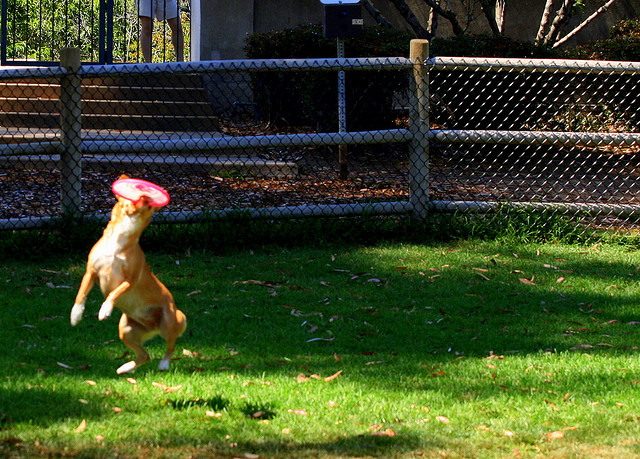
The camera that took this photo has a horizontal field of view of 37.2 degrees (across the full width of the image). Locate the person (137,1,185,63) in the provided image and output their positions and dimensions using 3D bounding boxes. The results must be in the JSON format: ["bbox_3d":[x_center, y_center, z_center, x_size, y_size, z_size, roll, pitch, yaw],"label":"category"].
[{"bbox_3d":[-2.502,-3.122,14.870,0.678,0.968,1.308,-2,9,-10],"label":"person"}]

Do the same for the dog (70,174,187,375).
[{"bbox_3d":[-1.387,0.442,7.210,0.461,1.586,1.083,6,53,21],"label":"dog"}]
